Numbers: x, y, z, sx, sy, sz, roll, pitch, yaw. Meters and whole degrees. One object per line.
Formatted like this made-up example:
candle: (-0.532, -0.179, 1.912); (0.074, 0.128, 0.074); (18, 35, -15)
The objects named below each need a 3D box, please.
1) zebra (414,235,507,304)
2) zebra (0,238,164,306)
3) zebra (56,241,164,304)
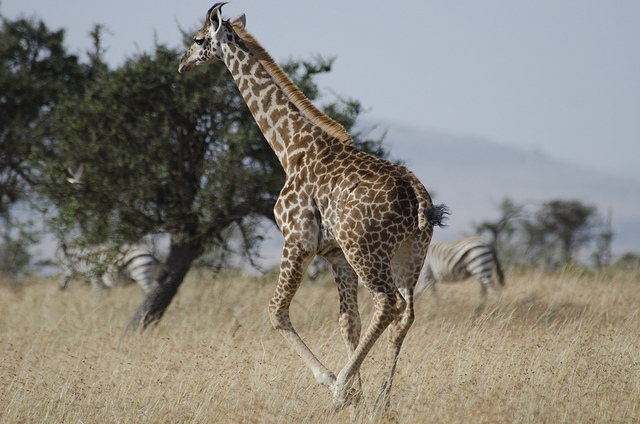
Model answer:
zebra: (3.541, 1.356, 28.740); (3.312, 2.563, 0.987); (-2, -3, 34)
zebra: (-5.245, 1.453, 26.384); (2.456, 1.742, 4.051); (10, -7, -11)
zebra: (-5.304, 1.510, 26.668); (2.440, 1.676, 3.459); (10, -7, -12)
